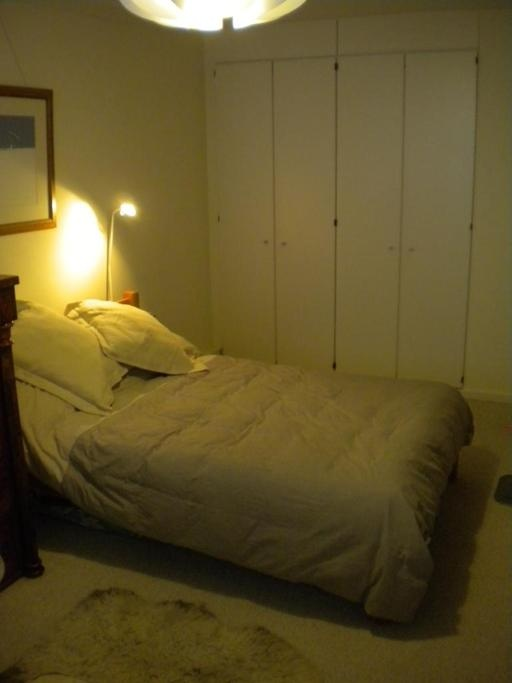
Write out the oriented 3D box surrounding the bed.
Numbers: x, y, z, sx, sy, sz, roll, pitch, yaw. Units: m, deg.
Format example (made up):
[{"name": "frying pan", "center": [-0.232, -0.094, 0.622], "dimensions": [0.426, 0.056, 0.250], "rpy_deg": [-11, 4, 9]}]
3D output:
[{"name": "bed", "center": [-0.089, 0.371, 2.199], "dimensions": [1.622, 0.707, 1.125], "rpy_deg": [9, 28, 19]}]
